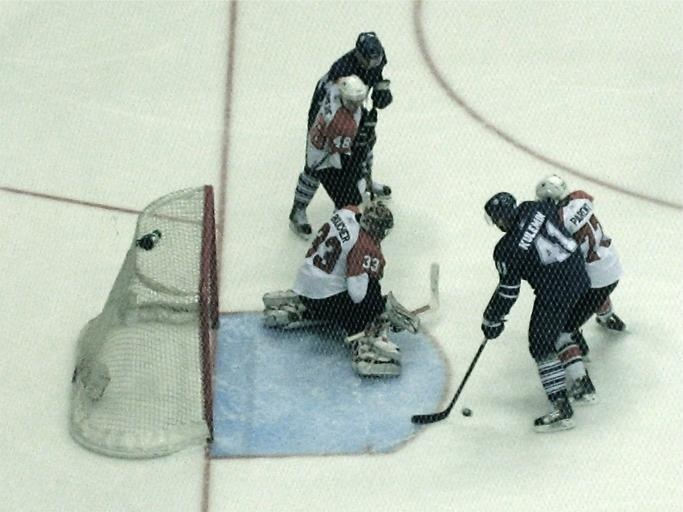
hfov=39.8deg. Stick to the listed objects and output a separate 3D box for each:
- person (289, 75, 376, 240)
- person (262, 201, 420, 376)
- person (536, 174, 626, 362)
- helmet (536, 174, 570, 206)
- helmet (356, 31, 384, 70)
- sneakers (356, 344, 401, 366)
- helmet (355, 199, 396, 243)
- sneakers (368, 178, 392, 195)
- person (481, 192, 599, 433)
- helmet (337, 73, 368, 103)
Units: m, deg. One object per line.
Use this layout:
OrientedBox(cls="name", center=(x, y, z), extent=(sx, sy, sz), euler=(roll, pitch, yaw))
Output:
OrientedBox(cls="person", center=(-0.039, -0.724, 7.351), extent=(0.651, 1.448, 0.395), euler=(6, 57, 3))
OrientedBox(cls="person", center=(-0.013, 0.113, 7.005), extent=(1.321, 1.238, 0.796), euler=(21, 26, 40))
OrientedBox(cls="person", center=(1.692, 0.145, 6.664), extent=(0.446, 1.317, 0.649), euler=(-2, 50, 29))
OrientedBox(cls="helmet", center=(1.435, -0.456, 6.485), extent=(0.157, 0.210, 0.194), euler=(45, 43, 13))
OrientedBox(cls="helmet", center=(0.220, -1.574, 7.159), extent=(0.197, 0.285, 0.103), euler=(-12, 16, -6))
OrientedBox(cls="sneakers", center=(0.251, 0.692, 6.638), extent=(0.313, 0.165, 0.074), euler=(2, 23, 0))
OrientedBox(cls="helmet", center=(0.246, -0.234, 6.609), extent=(0.223, 0.323, 0.191), euler=(-2, 24, -7))
OrientedBox(cls="sneakers", center=(0.335, -0.581, 7.922), extent=(0.175, 0.113, 0.076), euler=(10, 2, 13))
OrientedBox(cls="person", center=(1.291, 0.355, 6.388), extent=(0.713, 1.454, 0.632), euler=(7, 24, 13))
OrientedBox(cls="helmet", center=(0.093, -1.229, 6.909), extent=(0.154, 0.184, 0.208), euler=(-19, 24, -22))
